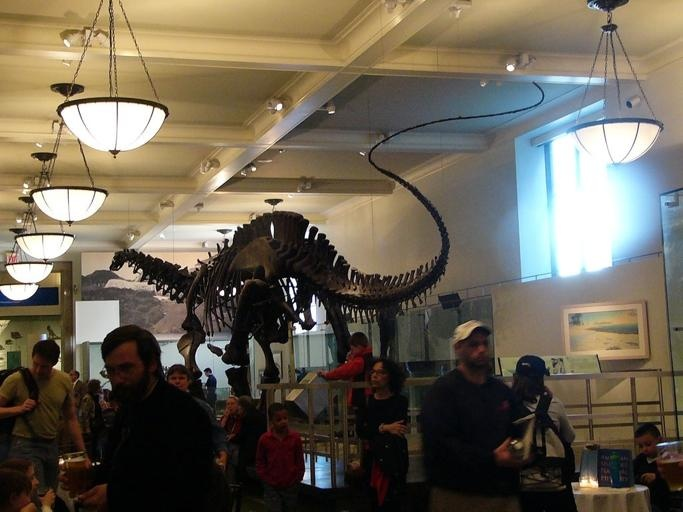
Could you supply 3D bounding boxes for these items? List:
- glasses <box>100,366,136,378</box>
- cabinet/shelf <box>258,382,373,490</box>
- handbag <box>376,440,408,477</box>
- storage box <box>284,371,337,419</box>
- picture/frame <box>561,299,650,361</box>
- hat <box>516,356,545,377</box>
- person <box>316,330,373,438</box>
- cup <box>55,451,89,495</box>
[{"bbox_3d":[-0.961,0.494,2.563,0.067,0.047,0.191,5,-12,-44],"label":"glasses"},{"bbox_3d":[-0.559,1.818,6.243,1.677,1.119,0.916,1,-10,-14],"label":"cabinet/shelf"},{"bbox_3d":[0.409,1.529,4.592,0.183,0.251,0.139,11,-31,-24],"label":"handbag"},{"bbox_3d":[-0.445,1.734,7.779,0.242,0.311,0.450,-28,-37,10],"label":"storage box"},{"bbox_3d":[3.259,0.923,7.437,1.049,0.738,0.035,-5,6,5],"label":"picture/frame"},{"bbox_3d":[0.986,0.569,3.118,0.140,0.079,0.100,-1,1,-40],"label":"hat"},{"bbox_3d":[0.128,1.368,6.481,0.501,1.181,0.424,-4,18,9],"label":"person"},{"bbox_3d":[-1.174,0.975,2.709,0.170,0.200,0.164,-6,-20,-2],"label":"cup"}]
